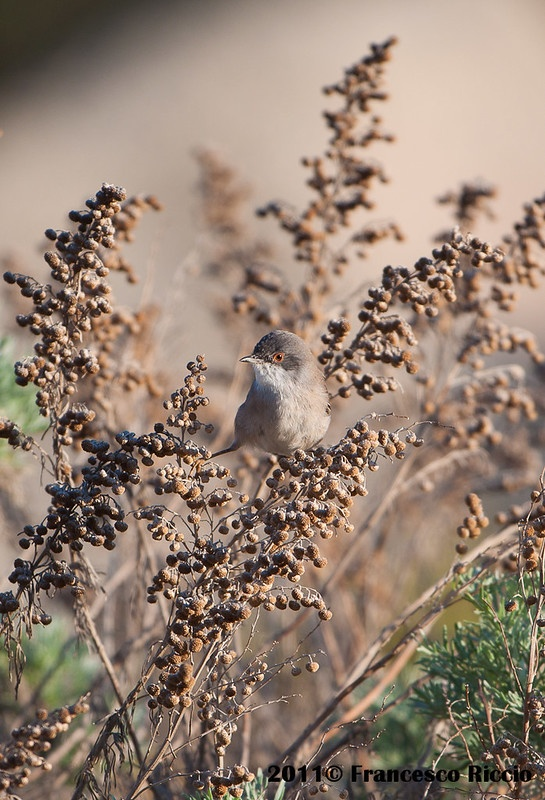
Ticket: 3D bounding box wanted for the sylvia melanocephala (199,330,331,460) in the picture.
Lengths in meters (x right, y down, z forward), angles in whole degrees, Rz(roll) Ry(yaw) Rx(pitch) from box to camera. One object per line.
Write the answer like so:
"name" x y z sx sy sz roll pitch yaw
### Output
"sylvia melanocephala" -0.007 -0.021 5.967 0.466 0.519 0.600 3 5 11
